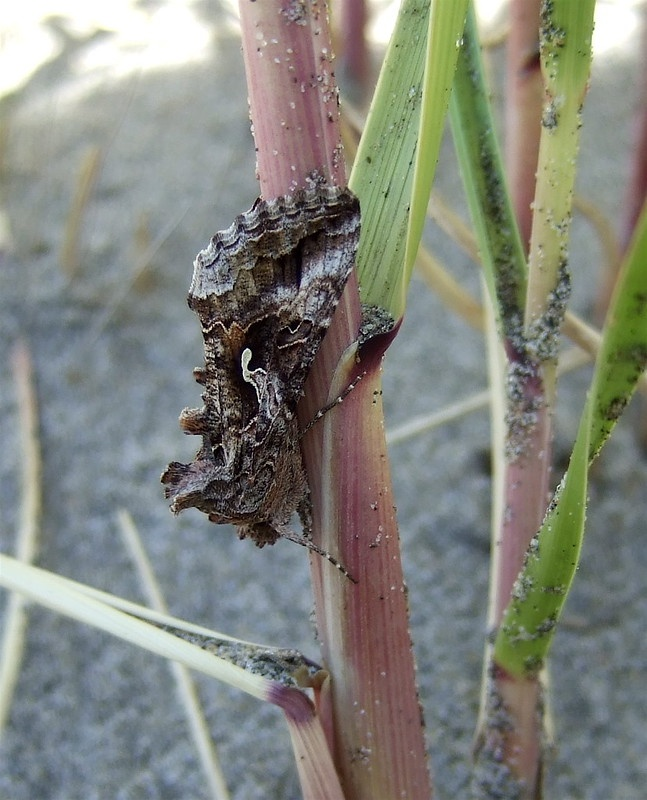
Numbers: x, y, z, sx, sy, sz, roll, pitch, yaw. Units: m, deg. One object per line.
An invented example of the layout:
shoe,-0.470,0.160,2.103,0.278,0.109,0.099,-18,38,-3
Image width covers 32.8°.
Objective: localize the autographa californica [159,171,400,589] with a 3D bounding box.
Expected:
autographa californica,-0.024,-0.009,0.450,0.078,0.134,0.094,9,44,23
